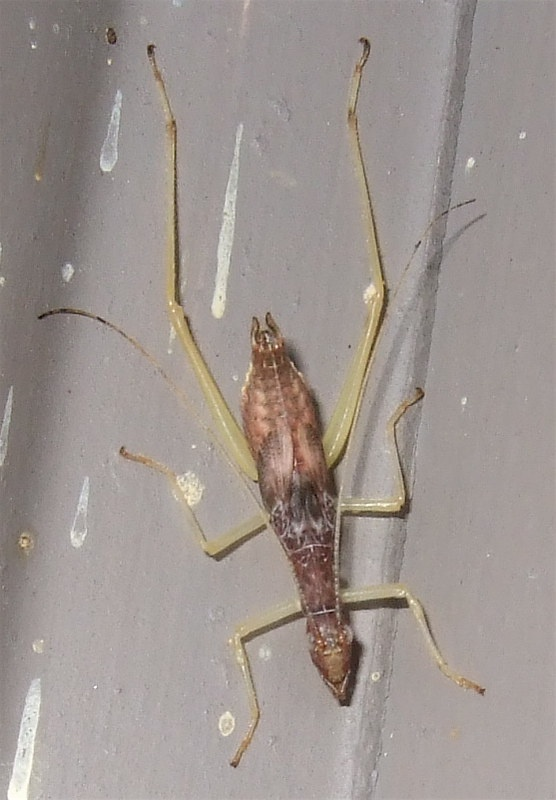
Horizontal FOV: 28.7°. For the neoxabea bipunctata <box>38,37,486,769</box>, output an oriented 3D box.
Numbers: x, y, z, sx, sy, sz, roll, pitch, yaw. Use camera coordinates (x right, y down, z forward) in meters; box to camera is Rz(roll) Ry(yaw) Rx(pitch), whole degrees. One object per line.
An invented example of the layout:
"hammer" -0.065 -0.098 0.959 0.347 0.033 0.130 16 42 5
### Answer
"neoxabea bipunctata" 0.054 0.065 3.479 1.136 0.209 2.896 -5 87 6
